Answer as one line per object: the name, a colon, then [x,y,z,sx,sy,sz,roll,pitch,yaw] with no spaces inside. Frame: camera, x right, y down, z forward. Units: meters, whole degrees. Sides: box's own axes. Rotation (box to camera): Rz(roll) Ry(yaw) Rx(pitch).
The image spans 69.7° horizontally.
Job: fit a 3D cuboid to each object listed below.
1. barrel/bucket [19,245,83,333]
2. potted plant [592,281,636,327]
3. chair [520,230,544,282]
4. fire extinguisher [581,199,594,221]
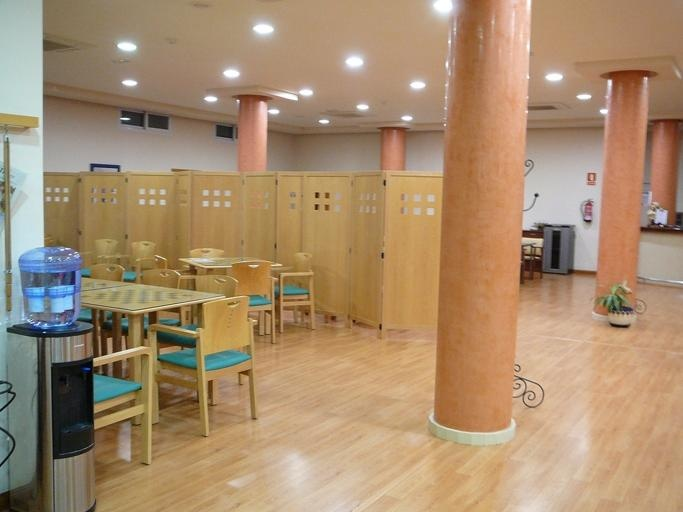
barrel/bucket: [-1.714,0.174,2.872,0.300,0.423,0.273,1,7,0]
potted plant: [4.408,0.745,7.899,0.568,0.701,0.588,5,8,27]
chair: [4.920,-0.036,12.649,0.566,1.202,2.168,4,7,22]
fire extinguisher: [6.695,-1.233,13.357,0.309,0.639,0.167,4,8,25]
